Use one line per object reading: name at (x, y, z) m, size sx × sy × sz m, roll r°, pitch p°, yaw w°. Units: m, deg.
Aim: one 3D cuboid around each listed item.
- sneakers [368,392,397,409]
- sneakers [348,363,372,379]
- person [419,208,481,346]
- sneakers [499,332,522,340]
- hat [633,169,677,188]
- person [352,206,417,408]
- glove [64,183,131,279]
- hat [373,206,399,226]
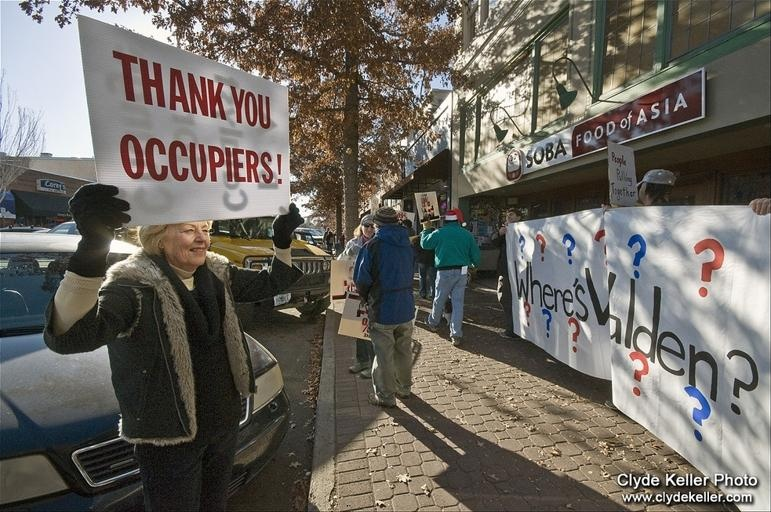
sneakers at (-0.041, 1.745, 5.896) m, size 0.309 × 0.154 × 0.144 m, roll 12°, pitch 8°, yaw 23°
sneakers at (-0.325, 1.615, 6.737) m, size 0.370 × 0.175 × 0.140 m, roll 9°, pitch -4°, yaw -27°
person at (1.096, 0.348, 7.869) m, size 0.863 × 2.150 × 0.664 m, roll -2°, pitch 12°, yaw 2°
sneakers at (2.117, 1.335, 8.222) m, size 0.335 × 0.148 × 0.121 m, roll 0°, pitch 3°, yaw 36°
hat at (3.362, -0.968, 5.985) m, size 0.276 × 0.188 × 0.376 m, roll -3°, pitch 11°, yaw -23°
person at (0.021, 0.621, 5.890) m, size 0.740 × 2.362 × 0.650 m, roll -5°, pitch 12°, yaw -12°
glove at (-1.950, -0.178, 3.239) m, size 0.421 × 0.603 × 0.199 m, roll -12°, pitch 15°, yaw -36°
hat at (-0.004, -0.495, 6.027) m, size 0.236 × 0.214 × 0.222 m, roll 1°, pitch 18°, yaw 6°
